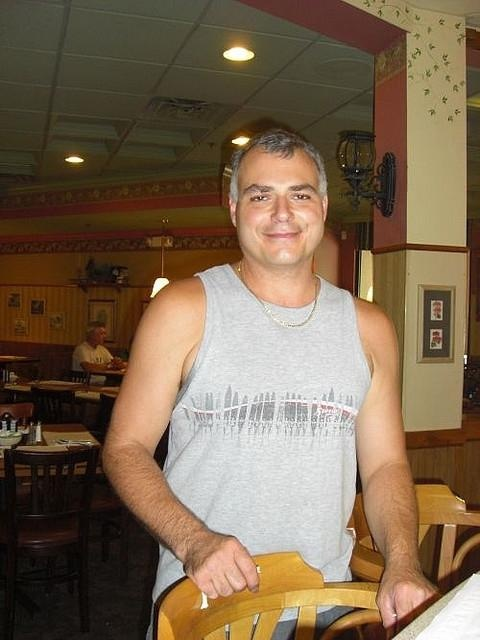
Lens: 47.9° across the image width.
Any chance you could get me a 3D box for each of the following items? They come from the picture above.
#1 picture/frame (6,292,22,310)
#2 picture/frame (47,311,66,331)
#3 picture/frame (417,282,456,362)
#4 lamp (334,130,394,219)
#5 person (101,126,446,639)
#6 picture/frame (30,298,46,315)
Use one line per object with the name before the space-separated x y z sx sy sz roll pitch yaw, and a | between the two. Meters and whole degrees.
picture/frame | -5.068 -0.436 12.145 0.466 0.453 0.064 1 0 5
picture/frame | -3.938 0.019 11.638 0.460 0.385 0.059 4 2 29
picture/frame | 1.206 0.037 3.291 0.021 0.459 0.290 1 0 -26
lamp | 0.753 -0.879 3.303 0.365 0.444 0.238 0 11 -14
person | 0.075 0.062 1.036 0.660 0.994 0.515 0 -4 -8
picture/frame | -4.419 -0.291 11.846 0.420 0.362 0.027 1 7 19
